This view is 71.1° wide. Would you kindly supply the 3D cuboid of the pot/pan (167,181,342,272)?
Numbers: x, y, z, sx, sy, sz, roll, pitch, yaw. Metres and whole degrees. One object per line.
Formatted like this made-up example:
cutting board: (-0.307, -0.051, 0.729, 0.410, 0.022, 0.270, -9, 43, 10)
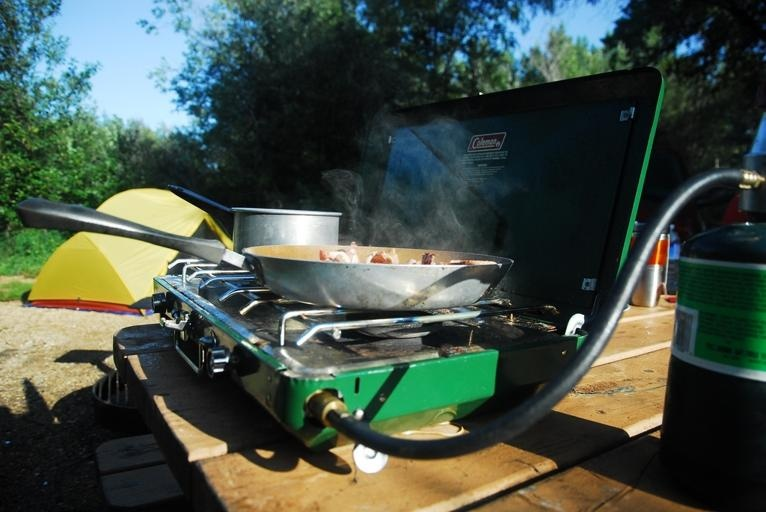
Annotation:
pot/pan: (-0.445, -0.109, 1.872, 0.531, 0.191, 0.311, 2, 4, 13)
